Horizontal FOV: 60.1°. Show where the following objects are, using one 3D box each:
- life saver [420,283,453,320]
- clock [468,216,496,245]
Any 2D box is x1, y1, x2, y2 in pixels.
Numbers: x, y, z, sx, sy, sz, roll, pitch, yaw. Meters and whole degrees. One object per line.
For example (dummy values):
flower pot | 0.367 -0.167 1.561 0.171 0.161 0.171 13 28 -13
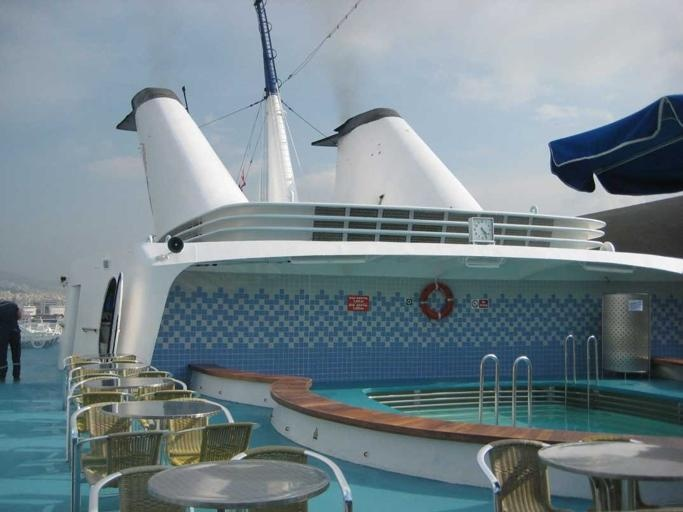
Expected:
life saver | 2.024 0.987 12.750 0.702 0.795 0.233 -8 -9 -14
clock | 2.577 -0.463 11.040 0.471 0.492 0.172 7 -14 -20
